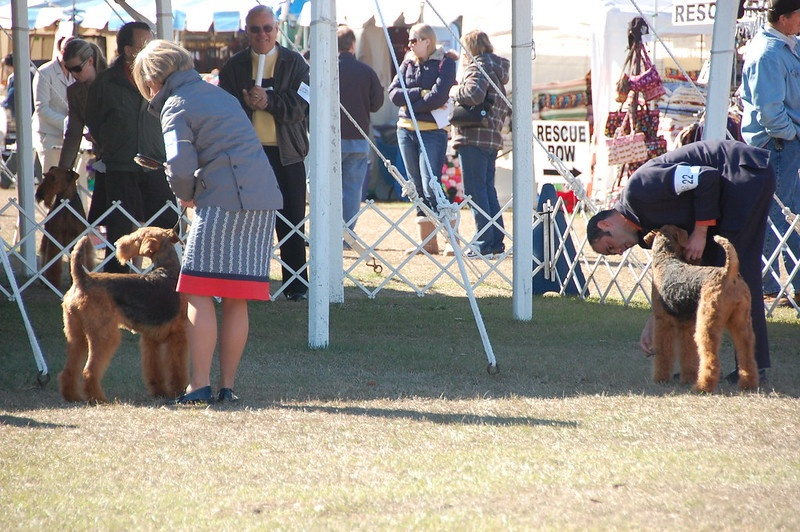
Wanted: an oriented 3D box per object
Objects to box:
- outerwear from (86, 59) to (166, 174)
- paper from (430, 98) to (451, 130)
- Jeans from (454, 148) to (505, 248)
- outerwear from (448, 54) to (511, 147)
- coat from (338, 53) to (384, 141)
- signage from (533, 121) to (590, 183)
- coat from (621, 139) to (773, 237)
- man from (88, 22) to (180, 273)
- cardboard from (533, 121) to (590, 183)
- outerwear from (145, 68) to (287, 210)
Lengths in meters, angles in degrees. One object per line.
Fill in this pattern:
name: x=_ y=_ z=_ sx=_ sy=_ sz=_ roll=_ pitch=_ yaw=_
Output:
outerwear: x=-2.470 y=-1.332 z=13.052 sx=0.856 sy=1.111 sz=0.592 roll=-13 pitch=13 yaw=-40
paper: x=0.439 y=-1.661 z=15.827 sx=0.257 sy=0.263 sz=0.063 roll=-30 pitch=2 yaw=-12
Jeans: x=0.925 y=-0.803 z=16.014 sx=0.341 sy=1.409 sz=0.435 roll=0 pitch=2 yaw=27
outerwear: x=0.878 y=-1.745 z=15.981 sx=0.641 sy=1.172 sz=1.144 roll=-2 pitch=-11 yaw=13
coat: x=-0.517 y=-1.868 z=16.093 sx=0.321 sy=0.968 sz=0.734 roll=5 pitch=9 yaw=36
signage: x=2.132 y=-1.513 z=18.904 sx=0.931 sy=1.118 sz=0.053 roll=3 pitch=5 yaw=31
coat: x=2.419 y=-0.634 z=11.780 sx=0.895 sy=0.568 sz=0.761 roll=-21 pitch=5 yaw=15
man: x=-2.488 y=-1.085 z=13.671 sx=0.711 sy=2.303 sz=0.753 roll=9 pitch=40 yaw=-9
cardboard: x=2.132 y=-1.513 z=18.904 sx=0.931 sy=1.118 sz=0.053 roll=3 pitch=5 yaw=31
outerwear: x=-1.507 y=-0.948 z=11.557 sx=0.797 sy=1.386 sz=1.044 roll=-18 pitch=-5 yaw=23
